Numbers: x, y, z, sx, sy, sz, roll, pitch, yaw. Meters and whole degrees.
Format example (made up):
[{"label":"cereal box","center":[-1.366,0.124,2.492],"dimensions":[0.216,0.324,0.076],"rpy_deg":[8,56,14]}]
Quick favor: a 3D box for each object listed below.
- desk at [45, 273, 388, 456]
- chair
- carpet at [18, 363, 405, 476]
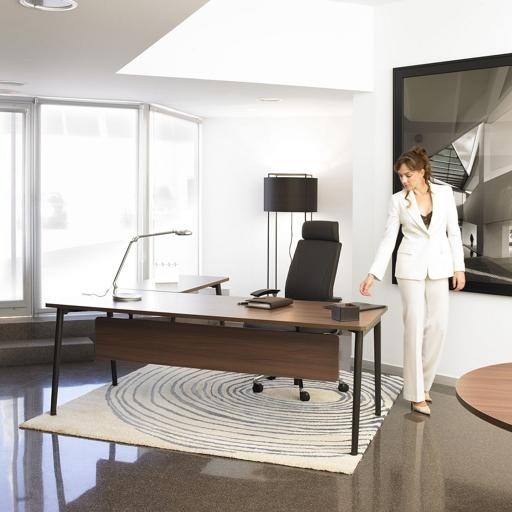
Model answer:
[{"label":"desk","center":[-0.266,0.690,3.139],"dimensions":[2.078,0.781,0.803],"rpy_deg":[1,3,22]},{"label":"chair","center":[0.293,0.424,3.775],"dimensions":[0.882,1.390,0.847],"rpy_deg":[-2,0,42]},{"label":"carpet","center":[-0.124,1.105,3.661],"dimensions":[2.008,0.022,2.201],"rpy_deg":[4,-1,6]}]
